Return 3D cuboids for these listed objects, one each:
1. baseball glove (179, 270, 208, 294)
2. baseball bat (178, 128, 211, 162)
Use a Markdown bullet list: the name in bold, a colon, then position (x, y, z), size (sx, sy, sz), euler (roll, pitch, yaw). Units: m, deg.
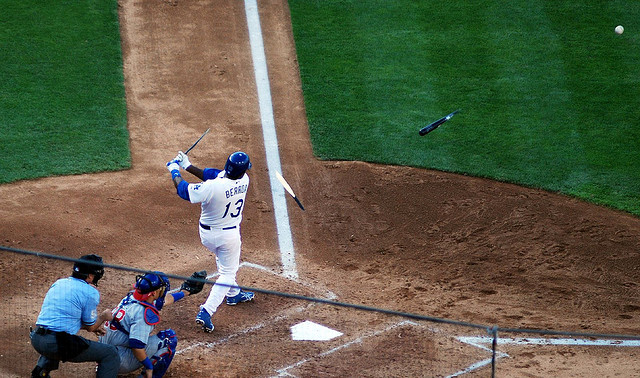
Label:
- **baseball glove**: position (-3.090, 2.276, 27.416), size (0.804, 0.498, 0.219), euler (-32, 20, 0)
- **baseball bat**: position (-3.351, -1.059, 28.827), size (1.557, 0.198, 0.149), euler (-33, 44, 8)
